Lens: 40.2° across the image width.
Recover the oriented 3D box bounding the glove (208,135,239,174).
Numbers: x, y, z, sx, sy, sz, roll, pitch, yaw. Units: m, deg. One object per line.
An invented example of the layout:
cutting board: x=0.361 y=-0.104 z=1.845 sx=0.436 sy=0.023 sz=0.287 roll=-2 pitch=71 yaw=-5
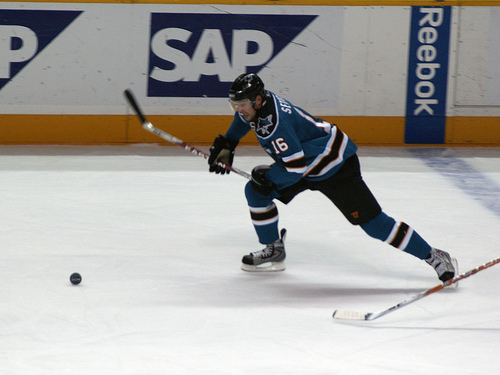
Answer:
glove: x=-0.175 y=-0.226 z=4.510 sx=0.206 sy=0.249 sz=0.096 roll=18 pitch=11 yaw=5

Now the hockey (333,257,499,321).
hockey: x=1.014 y=0.622 z=4.127 sx=0.801 sy=0.085 sz=0.095 roll=-17 pitch=-8 yaw=-14

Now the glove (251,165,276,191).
glove: x=0.072 y=-0.086 z=4.165 sx=0.130 sy=0.187 sz=0.103 roll=-5 pitch=-33 yaw=1

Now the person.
person: x=0.515 y=-0.037 z=4.233 sx=1.657 sy=1.150 sz=0.592 roll=5 pitch=7 yaw=7
